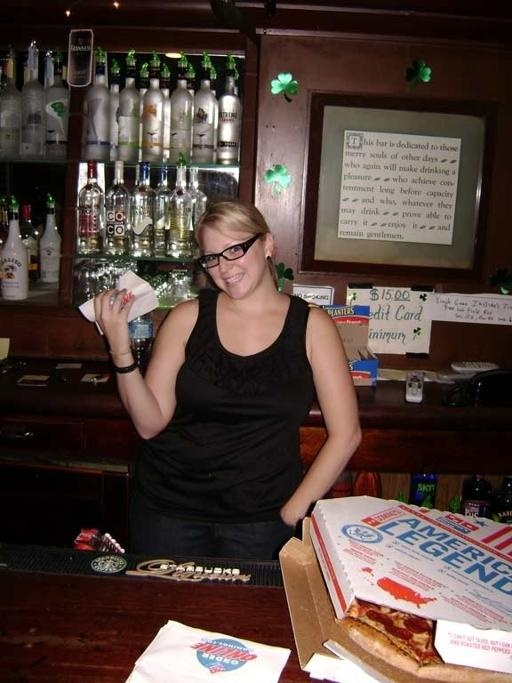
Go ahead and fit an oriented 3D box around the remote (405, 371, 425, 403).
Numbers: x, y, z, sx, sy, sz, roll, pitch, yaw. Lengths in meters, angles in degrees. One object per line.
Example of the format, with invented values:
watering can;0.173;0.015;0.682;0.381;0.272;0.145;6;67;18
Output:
remote;0.497;0.142;1.811;0.059;0.095;0.029;-1;-32;21

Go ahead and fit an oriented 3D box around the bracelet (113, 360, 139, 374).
bracelet;-0.301;0.062;1.335;0.052;0.028;0.060;-2;5;-15

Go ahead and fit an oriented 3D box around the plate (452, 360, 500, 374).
plate;0.806;0.095;2.111;0.119;0.023;0.069;-1;13;0

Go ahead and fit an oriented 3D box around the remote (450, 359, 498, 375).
remote;0.802;0.093;2.112;0.123;0.026;0.068;0;14;0

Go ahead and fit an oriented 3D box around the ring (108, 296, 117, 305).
ring;-0.334;-0.093;1.334;0.015;0.017;0.018;1;15;-20

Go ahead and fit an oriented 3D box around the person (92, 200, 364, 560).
person;-0.032;0.088;1.419;0.562;0.862;0.305;0;5;9

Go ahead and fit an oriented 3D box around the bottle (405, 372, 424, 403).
bottle;0.494;0.142;1.827;0.057;0.095;0.029;-2;-33;21
